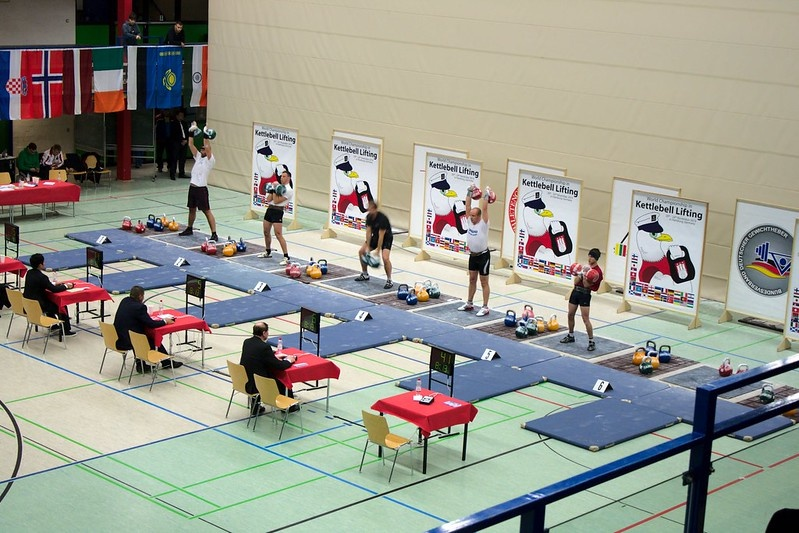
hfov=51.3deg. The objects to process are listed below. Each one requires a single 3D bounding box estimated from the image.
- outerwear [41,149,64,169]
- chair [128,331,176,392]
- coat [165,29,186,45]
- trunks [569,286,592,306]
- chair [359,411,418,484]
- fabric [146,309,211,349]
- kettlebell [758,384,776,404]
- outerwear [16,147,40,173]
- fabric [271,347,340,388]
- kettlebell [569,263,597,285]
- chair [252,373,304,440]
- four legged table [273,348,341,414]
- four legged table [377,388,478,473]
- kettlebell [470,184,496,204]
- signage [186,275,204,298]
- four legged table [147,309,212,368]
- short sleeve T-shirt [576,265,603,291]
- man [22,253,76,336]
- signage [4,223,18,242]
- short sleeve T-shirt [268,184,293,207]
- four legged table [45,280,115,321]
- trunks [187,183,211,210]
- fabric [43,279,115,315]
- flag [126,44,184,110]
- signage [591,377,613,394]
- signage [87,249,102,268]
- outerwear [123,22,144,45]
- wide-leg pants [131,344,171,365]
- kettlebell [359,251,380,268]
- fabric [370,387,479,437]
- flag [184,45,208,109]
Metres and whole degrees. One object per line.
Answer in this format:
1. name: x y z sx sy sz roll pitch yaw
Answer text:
1. outerwear: -11.323 -3.490 27.298 0.607 0.758 0.656 1 32 -34
2. chair: -4.627 1.790 15.533 0.711 1.268 0.837 13 19 38
3. coat: -7.809 -8.068 28.913 0.598 0.776 0.927 -3 13 -15
4. trunks: 3.757 0.629 17.227 0.491 0.424 0.366 8 1 42
5. chair: -0.173 2.903 13.185 0.654 1.141 0.752 16 28 38
6. fabric: -4.191 1.135 15.658 0.756 0.202 0.749 -14 22 -37
7. kettlebell: 6.658 2.331 15.057 0.219 0.399 0.610 5 14 20
8. outerwear: -12.035 -3.437 27.038 0.555 0.766 0.935 9 15 30
9. fabric: -1.599 1.751 14.439 0.720 0.305 0.803 -9 19 -33
10. kettlebell: 3.854 0.203 16.965 0.330 0.357 0.686 14 8 -34
11. chair: -2.082 2.392 14.143 0.677 1.233 0.806 13 21 37
12. four legged table: -1.639 1.777 14.565 0.980 0.692 1.203 -7 15 -38
13. four legged table: 0.452 2.329 13.214 1.296 0.957 1.306 -7 15 -42
14. kettlebell: 1.910 -1.668 19.270 0.553 0.208 0.557 11 12 -18
15. signage: -4.137 0.409 16.880 0.456 0.404 0.077 17 18 42
16. four legged table: -4.363 1.217 15.918 1.080 0.826 1.071 -9 14 -44
17. short sleeve T-shirt: 3.864 0.230 17.031 0.283 0.399 0.421 -21 34 -30
18. man: -7.326 0.647 17.448 0.804 1.912 1.089 24 29 31
19. signage: -9.199 -0.789 19.753 0.066 0.351 0.461 -12 21 -41
20. short sleeve T-shirt: -3.039 -1.816 21.564 0.613 0.647 0.542 -3 10 -36
21. four legged table: -6.592 0.764 17.183 0.945 0.606 1.130 -12 24 -38
22. trunks: -5.500 -1.909 23.136 0.700 0.760 0.373 7 14 26
23. fabric: -6.544 0.555 16.992 0.784 0.457 0.858 -11 23 -41
24. flag: -8.337 -6.479 28.214 2.048 2.013 0.150 -16 26 -40
25. signage: 3.788 2.224 15.663 0.275 0.119 0.260 -12 13 -42
26. signage: -6.578 -0.180 17.997 0.049 0.270 0.355 -13 21 -41
27. outerwear: -8.889 -7.749 27.645 0.549 0.758 0.429 -5 14 -23
28. wide-leg pants: -4.607 1.629 15.455 0.445 0.149 0.306 13 15 41
29. kettlebell: -0.691 -0.134 20.317 0.285 0.163 0.480 -8 15 -26
30. fabric: 0.556 2.259 13.044 0.926 0.261 0.976 -12 20 -36
31. flag: -7.075 -6.736 29.386 0.725 2.072 0.377 -4 13 -20
